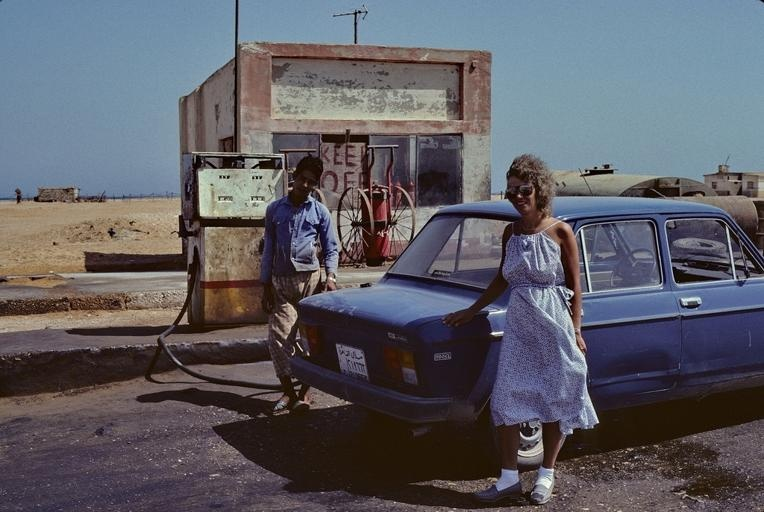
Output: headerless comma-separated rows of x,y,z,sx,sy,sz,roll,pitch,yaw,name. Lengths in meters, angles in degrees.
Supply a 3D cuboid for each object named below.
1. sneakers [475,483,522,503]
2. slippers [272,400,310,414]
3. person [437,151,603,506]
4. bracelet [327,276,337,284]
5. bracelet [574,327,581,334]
0.817,1.655,4.595,0.325,0.143,0.141,1,-4,-11,sneakers
-0.857,1.421,6.127,0.362,0.109,0.148,0,4,15,slippers
1.078,0.525,4.575,0.847,2.441,0.471,1,7,10,person
-0.465,0.224,6.070,0.055,0.056,0.057,12,-2,30,bracelet
1.357,0.518,4.522,0.047,0.026,0.062,0,0,1,bracelet
